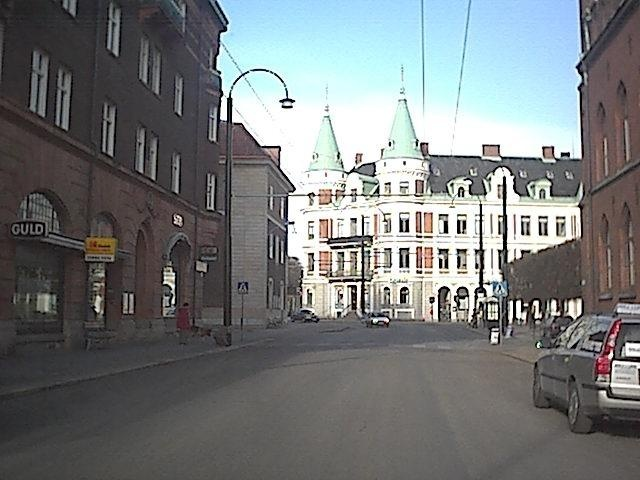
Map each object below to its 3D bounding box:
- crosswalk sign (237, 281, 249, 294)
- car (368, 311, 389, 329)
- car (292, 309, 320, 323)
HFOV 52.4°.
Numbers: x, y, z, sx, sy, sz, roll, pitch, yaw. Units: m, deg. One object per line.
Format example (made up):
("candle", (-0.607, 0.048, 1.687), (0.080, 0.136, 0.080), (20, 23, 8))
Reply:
("crosswalk sign", (-4.012, 2.468, 33.856), (0.780, 0.942, 0.335), (-2, 3, -7))
("car", (5.620, 7.802, 63.657), (1.322, 1.394, 2.460), (5, -11, -29))
("car", (-1.920, 9.180, 78.251), (1.564, 1.364, 2.691), (5, -3, -37))
